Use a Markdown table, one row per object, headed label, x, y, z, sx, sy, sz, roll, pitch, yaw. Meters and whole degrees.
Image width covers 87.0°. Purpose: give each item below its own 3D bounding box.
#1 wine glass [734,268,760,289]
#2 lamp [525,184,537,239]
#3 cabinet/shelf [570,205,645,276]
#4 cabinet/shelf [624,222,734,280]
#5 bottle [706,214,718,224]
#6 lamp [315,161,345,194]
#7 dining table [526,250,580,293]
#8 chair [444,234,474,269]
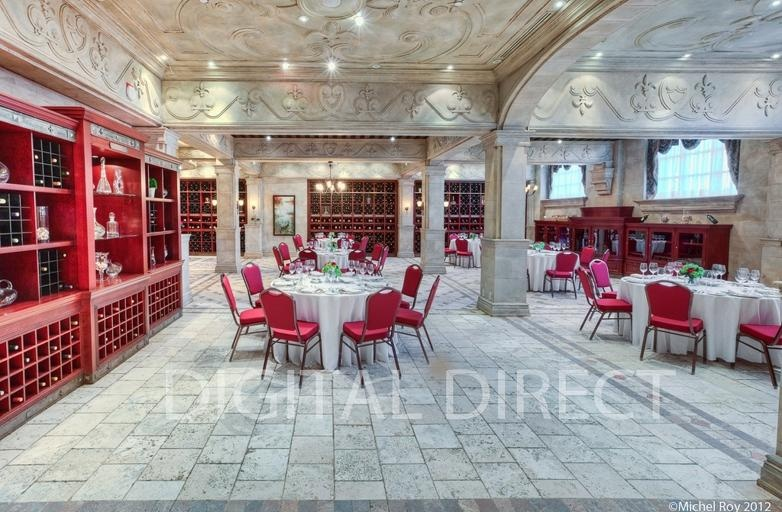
| label | x | y | z | sx | sy | sz | roll | pitch | yaw |
| --- | --- | --- | --- | --- | --- | --- | --- | --- | --- |
| wine glass | 5.667 | 0.356 | 6.541 | 0.340 | 0.260 | 0.157 | -1 | 10 | 1 |
| lamp | 5.536 | -1.868 | 16.284 | 0.423 | 2.240 | 0.668 | 4 | 10 | 17 |
| cabinet/shelf | 6.642 | -0.489 | 12.713 | 0.932 | 2.139 | 2.293 | -11 | 8 | -13 |
| cabinet/shelf | 7.072 | -0.098 | 10.443 | 0.681 | 1.214 | 2.240 | 1 | 1 | -22 |
| bottle | 7.496 | -0.875 | 9.612 | 0.160 | 0.193 | 0.260 | -3 | 10 | -21 |
| lamp | -2.614 | -3.113 | 16.341 | 1.306 | 1.286 | 1.200 | 0 | 2 | -4 |
| dining table | 3.995 | 0.335 | 10.215 | 1.290 | 0.730 | 1.220 | -1 | 8 | -7 |
| chair | 2.402 | -0.130 | 14.611 | 0.912 | 1.412 | 1.040 | 11 | 28 | 24 |
